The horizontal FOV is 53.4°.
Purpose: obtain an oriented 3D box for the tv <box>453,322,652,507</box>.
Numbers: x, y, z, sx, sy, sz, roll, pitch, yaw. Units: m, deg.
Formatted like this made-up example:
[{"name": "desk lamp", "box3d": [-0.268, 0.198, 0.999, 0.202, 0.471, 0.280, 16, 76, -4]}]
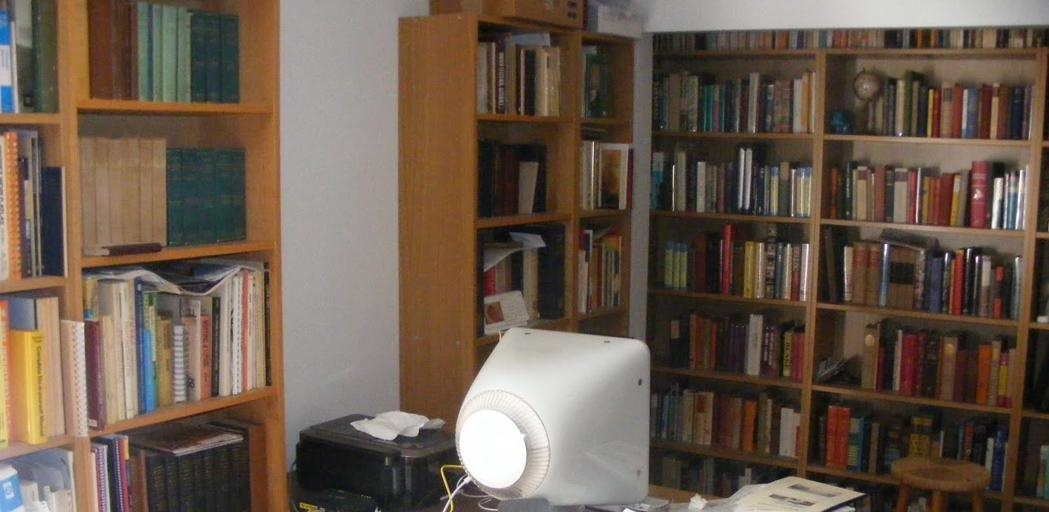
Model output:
[{"name": "tv", "box3d": [0.155, 0.697, 5.193, 1.099, 0.883, 0.877, 3, 3, 30]}]
